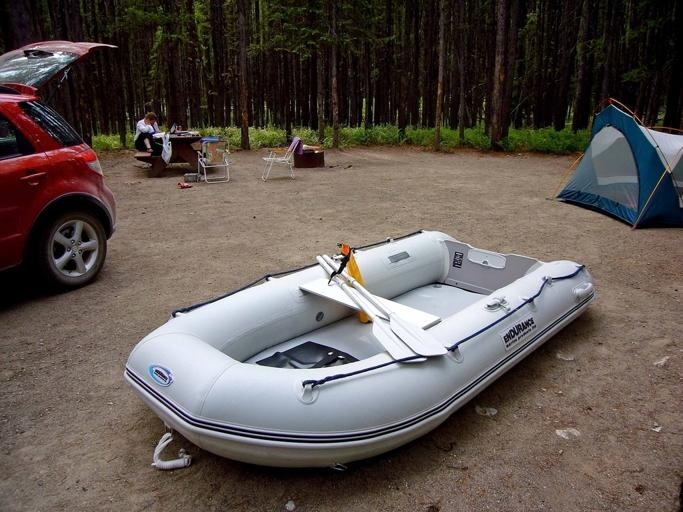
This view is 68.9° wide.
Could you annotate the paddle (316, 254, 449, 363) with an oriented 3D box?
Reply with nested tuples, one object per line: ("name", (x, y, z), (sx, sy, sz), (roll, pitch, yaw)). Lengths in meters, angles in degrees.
("paddle", (0.321, 0.421, 4.413), (0.429, 0.256, 1.709), (-6, 28, -25))

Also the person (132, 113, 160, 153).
("person", (-5.523, -3.473, 14.117), (0.790, 1.208, 0.741), (-1, -5, 19))

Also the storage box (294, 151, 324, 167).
("storage box", (-1.036, -3.058, 15.727), (0.601, 0.382, 0.632), (-3, 10, -16))

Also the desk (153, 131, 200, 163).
("desk", (-4.672, -3.065, 13.887), (0.979, 0.540, 0.579), (12, 34, 15))
